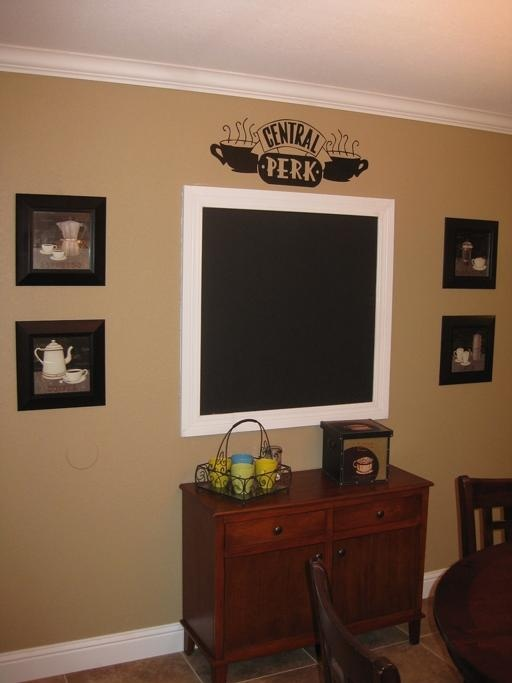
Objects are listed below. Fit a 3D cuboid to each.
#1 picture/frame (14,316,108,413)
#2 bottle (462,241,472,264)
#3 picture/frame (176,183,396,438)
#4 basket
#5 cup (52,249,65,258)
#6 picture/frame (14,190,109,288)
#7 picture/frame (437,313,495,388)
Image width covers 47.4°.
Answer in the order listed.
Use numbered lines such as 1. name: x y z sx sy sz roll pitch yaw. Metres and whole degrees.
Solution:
1. picture/frame: -0.814 0.084 2.388 0.372 0.397 0.027 -4 6 -30
2. bottle: 1.151 -0.493 3.184 0.073 0.116 0.014 -3 5 -34
3. picture/frame: 0.102 -0.167 2.736 1.194 1.231 0.048 -3 8 -21
4. basket: -0.036 0.559 2.588 0.356 0.380 0.324 -4 6 -44
5. cup: -0.796 -0.359 2.351 0.027 0.023 0.034 5 5 39
6. picture/frame: -0.799 -0.422 2.348 0.381 0.413 0.034 -3 8 -27
7. picture/frame: 1.141 0.036 3.215 0.386 0.412 0.031 -3 7 -28
